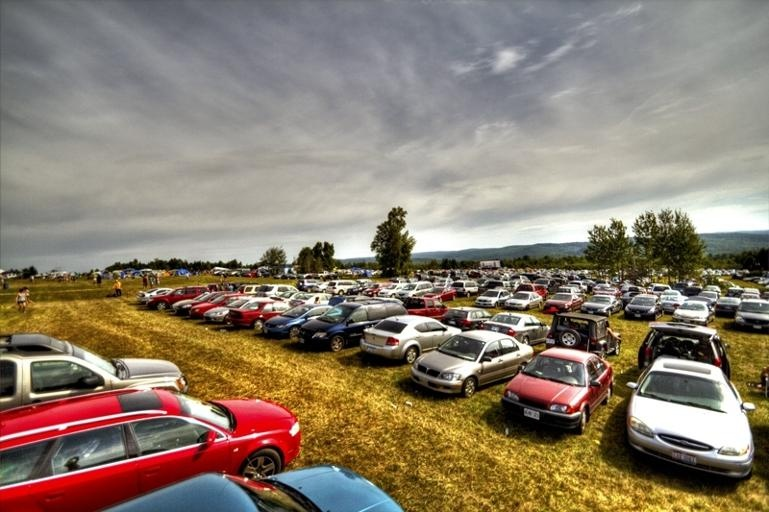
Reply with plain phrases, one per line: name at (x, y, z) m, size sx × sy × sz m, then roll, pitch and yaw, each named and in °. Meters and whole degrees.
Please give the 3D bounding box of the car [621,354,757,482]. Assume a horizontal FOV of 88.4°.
car at (8.899, 3.968, 11.713) m, size 2.771 × 1.603 × 5.452 m, roll 4°, pitch 12°, yaw 37°

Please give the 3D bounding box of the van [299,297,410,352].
van at (-1.392, 3.001, 18.295) m, size 4.568 × 1.450 × 2.072 m, roll -1°, pitch -2°, yaw -37°

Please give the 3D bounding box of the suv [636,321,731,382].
suv at (11.248, 3.414, 15.017) m, size 2.094 × 1.790 × 3.552 m, roll 1°, pitch 3°, yaw 40°

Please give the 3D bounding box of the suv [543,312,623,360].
suv at (8.748, 3.392, 17.278) m, size 2.195 × 1.846 × 3.912 m, roll 4°, pitch 4°, yaw 42°

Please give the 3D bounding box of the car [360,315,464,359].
car at (1.212, 3.332, 16.424) m, size 3.867 × 1.308 × 1.739 m, roll -5°, pitch 6°, yaw -39°

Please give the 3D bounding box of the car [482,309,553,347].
car at (5.973, 3.266, 18.161) m, size 3.474 × 1.042 × 1.488 m, roll -1°, pitch 5°, yaw -42°

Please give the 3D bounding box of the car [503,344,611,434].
car at (5.776, 3.929, 12.864) m, size 4.452 × 1.567 × 2.400 m, roll -5°, pitch 6°, yaw -42°
